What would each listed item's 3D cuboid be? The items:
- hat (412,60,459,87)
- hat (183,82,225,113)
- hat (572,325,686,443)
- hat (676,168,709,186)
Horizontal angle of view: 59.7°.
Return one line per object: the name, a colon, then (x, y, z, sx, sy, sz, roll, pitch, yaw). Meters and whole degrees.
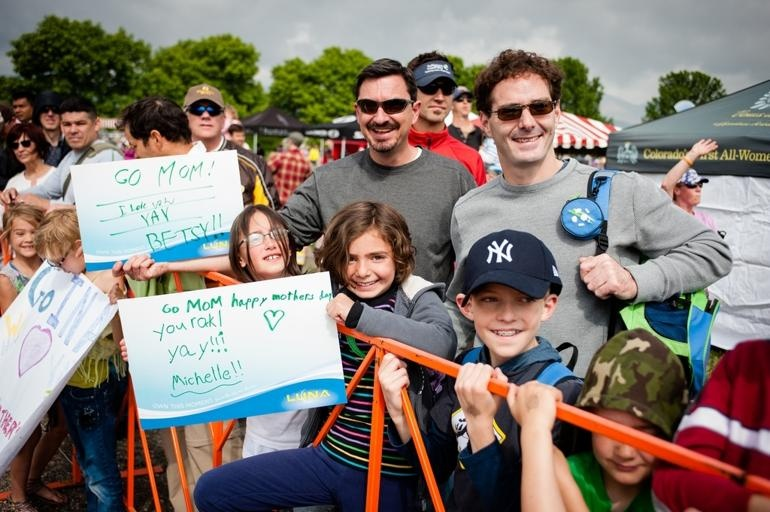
hat: (0.472, -1.793, 6.669, 0.423, 0.241, 0.607, 1, 19, -12)
hat: (-1.846, -1.602, 6.831, 0.278, 0.208, 0.393, 0, -1, -13)
hat: (1.342, 0.679, 3.590, 0.527, 0.624, 0.718, 1, -35, 30)
hat: (3.757, -0.930, 8.196, 0.237, 0.143, 0.376, -25, 8, 1)
